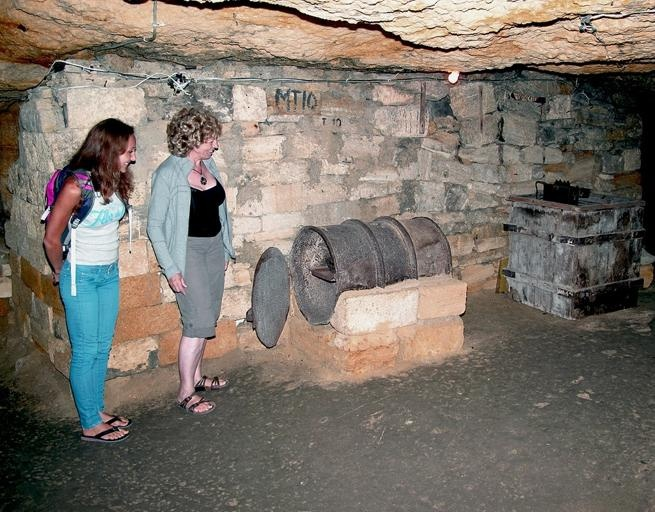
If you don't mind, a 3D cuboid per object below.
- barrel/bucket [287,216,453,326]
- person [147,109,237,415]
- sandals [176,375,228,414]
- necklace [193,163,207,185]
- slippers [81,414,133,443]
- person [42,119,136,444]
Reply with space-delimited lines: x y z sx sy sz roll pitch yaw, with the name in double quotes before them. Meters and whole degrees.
"barrel/bucket" 0.397 0.106 4.318 1.328 0.850 0.673 -9 14 -27
"person" -0.976 0.061 3.542 0.337 2.246 0.587 4 14 27
"sandals" -0.970 1.064 3.723 0.216 0.078 0.302 4 11 10
"necklace" -0.927 -0.601 3.510 0.042 0.154 0.156 4 6 33
"slippers" -1.527 1.217 3.345 0.233 0.060 0.206 4 8 -6
"person" -1.492 0.210 3.185 0.588 2.165 0.312 -10 14 -29
